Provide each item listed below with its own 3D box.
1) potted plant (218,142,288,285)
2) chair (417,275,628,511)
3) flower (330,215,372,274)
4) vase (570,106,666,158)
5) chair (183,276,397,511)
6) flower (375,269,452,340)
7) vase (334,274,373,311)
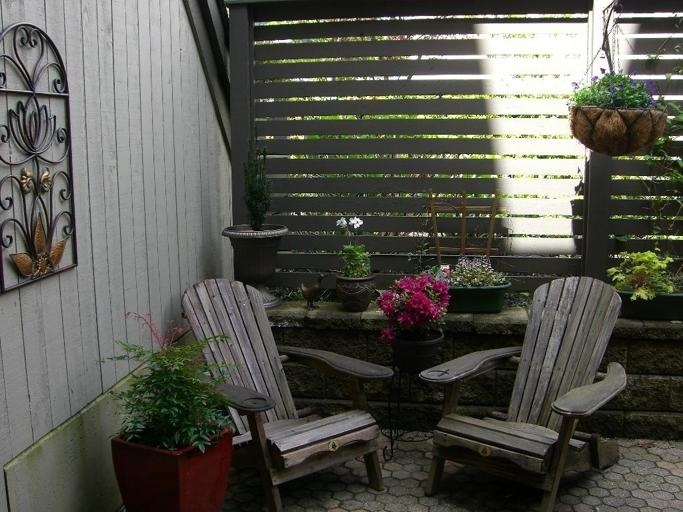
[{"bbox_3d":[-0.605,-0.254,3.595,0.428,0.999,0.468,-3,12,-5],"label":"potted plant"},{"bbox_3d":[1.020,0.705,2.770,0.870,1.079,1.017,6,14,34],"label":"chair"},{"bbox_3d":[0.088,-0.068,3.677,0.253,0.401,0.536,-2,11,-1],"label":"flower"},{"bbox_3d":[1.535,-0.692,2.894,0.432,0.171,0.364,1,9,2],"label":"vase"},{"bbox_3d":[-0.284,0.618,3.120,1.163,0.932,1.378,-6,13,-43],"label":"chair"},{"bbox_3d":[0.388,0.261,3.065,0.437,0.317,0.467,3,5,40],"label":"flower"},{"bbox_3d":[0.090,0.264,3.572,0.329,0.188,0.275,1,-2,-5],"label":"vase"}]
